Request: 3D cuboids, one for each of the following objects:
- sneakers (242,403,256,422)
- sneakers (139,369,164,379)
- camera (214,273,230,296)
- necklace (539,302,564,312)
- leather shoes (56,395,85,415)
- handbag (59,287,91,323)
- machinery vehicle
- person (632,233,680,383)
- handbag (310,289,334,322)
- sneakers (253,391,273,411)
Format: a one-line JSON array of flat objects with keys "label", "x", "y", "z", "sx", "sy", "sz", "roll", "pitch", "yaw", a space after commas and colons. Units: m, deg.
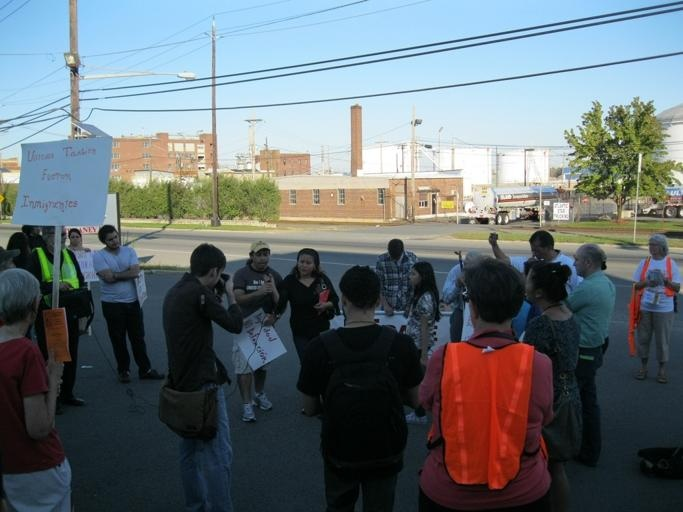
[{"label": "sneakers", "x": -1.174, "y": 1.912, "z": 7.845, "sx": 0.176, "sy": 0.200, "sz": 0.432, "roll": -2, "pitch": 5, "yaw": -9}, {"label": "sneakers", "x": -2.786, "y": 1.724, "z": 9.177, "sx": 0.302, "sy": 0.142, "sz": 0.160, "roll": -1, "pitch": 2, "yaw": -3}, {"label": "camera", "x": -1.162, "y": 0.270, "z": 6.128, "sx": 0.160, "sy": 0.274, "sz": 0.104, "roll": 6, "pitch": -6, "yaw": 37}, {"label": "necklace", "x": 1.833, "y": 0.426, "z": 5.486, "sx": 0.098, "sy": 0.076, "sz": 0.133, "roll": -2, "pitch": -1, "yaw": -10}, {"label": "leather shoes", "x": -3.545, "y": 1.921, "z": 8.078, "sx": 0.402, "sy": 0.171, "sz": 0.138, "roll": -6, "pitch": 8, "yaw": -14}, {"label": "handbag", "x": -3.461, "y": 0.605, "z": 8.109, "sx": 0.353, "sy": 0.368, "sz": 0.359, "roll": 1, "pitch": -4, "yaw": -20}, {"label": "machinery vehicle", "x": 15.689, "y": -4.199, "z": 51.996, "sx": 1.846, "sy": 1.983, "sz": 7.522, "roll": 6, "pitch": -5, "yaw": -41}, {"label": "person", "x": 4.641, "y": 0.731, "z": 9.176, "sx": 0.601, "sy": 2.080, "sz": 0.624, "roll": 1, "pitch": 5, "yaw": 27}, {"label": "handbag", "x": -0.239, "y": 0.597, "z": 7.877, "sx": 0.106, "sy": 0.378, "sz": 0.271, "roll": 12, "pitch": 21, "yaw": 36}, {"label": "sneakers", "x": -1.029, "y": 1.875, "z": 8.130, "sx": 0.291, "sy": 0.146, "sz": 0.132, "roll": 5, "pitch": 5, "yaw": 41}]
